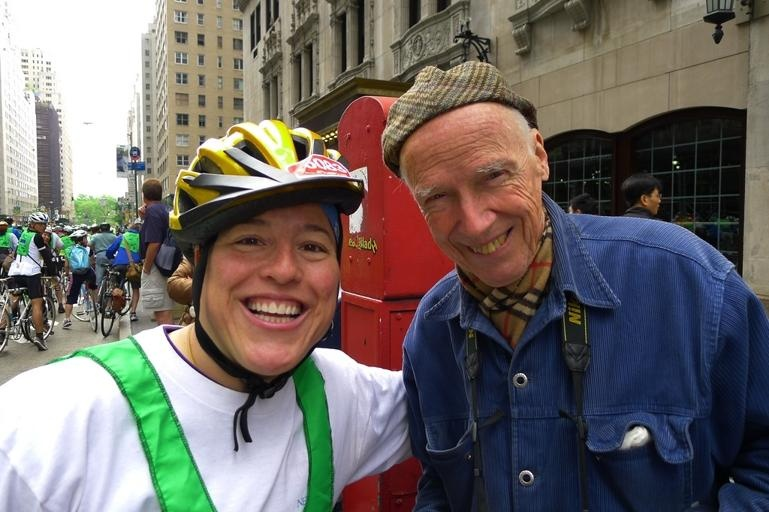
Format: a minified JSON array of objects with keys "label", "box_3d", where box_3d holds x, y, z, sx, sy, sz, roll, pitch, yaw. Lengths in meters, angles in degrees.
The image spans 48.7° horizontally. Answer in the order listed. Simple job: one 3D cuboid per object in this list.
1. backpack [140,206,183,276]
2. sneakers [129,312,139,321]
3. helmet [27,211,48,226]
[{"label":"backpack","box_3d":[-2.980,-0.174,11.376,0.436,0.988,0.774,1,-12,-16]},{"label":"sneakers","box_3d":[-4.808,1.164,16.322,0.103,0.150,0.307,-3,-9,-9]},{"label":"helmet","box_3d":[-6.716,-0.718,16.393,0.321,0.135,0.241,-19,-20,36]}]
